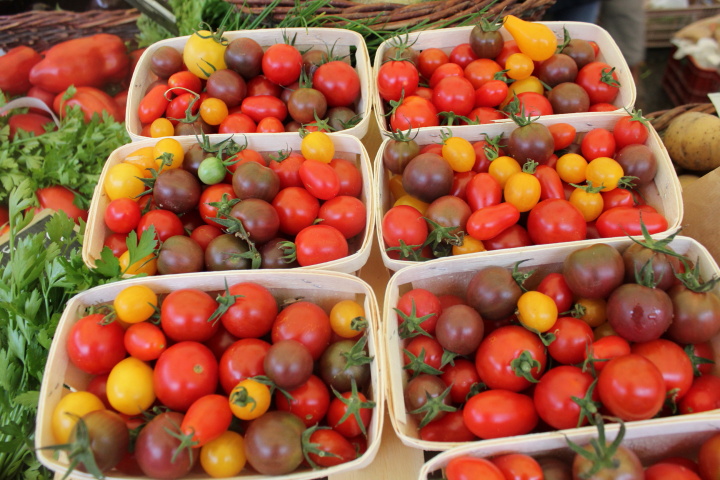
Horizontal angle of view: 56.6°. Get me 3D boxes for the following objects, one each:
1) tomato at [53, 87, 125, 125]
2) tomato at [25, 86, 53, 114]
[{"bbox_3d":[-1.448,-0.724,3.549,0.205,0.282,0.173,-13,73,41],"label":"tomato"},{"bbox_3d":[-1.687,-0.732,3.500,0.101,0.127,0.111,-19,100,6],"label":"tomato"}]
